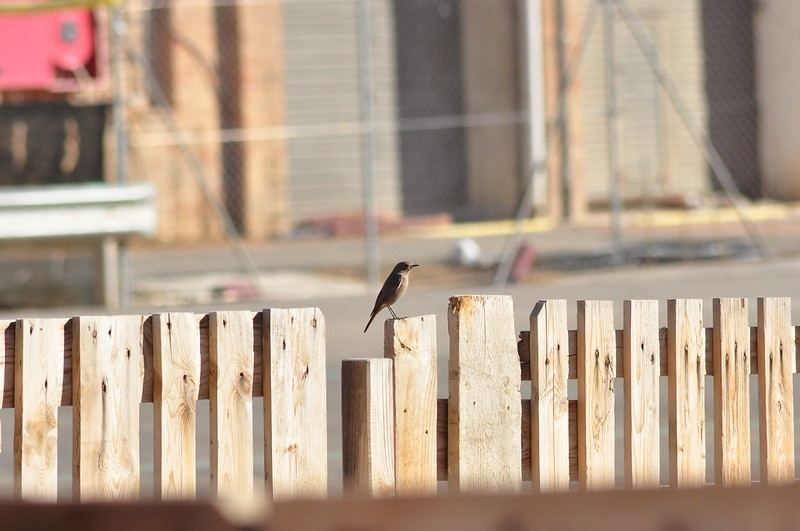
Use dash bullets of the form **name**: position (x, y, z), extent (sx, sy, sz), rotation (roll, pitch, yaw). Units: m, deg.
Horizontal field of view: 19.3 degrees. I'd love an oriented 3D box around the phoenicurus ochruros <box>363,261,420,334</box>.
- **phoenicurus ochruros**: position (-0.130, 0.305, 26.930), extent (0.512, 0.704, 1.204), rotation (-1, -9, -14)
